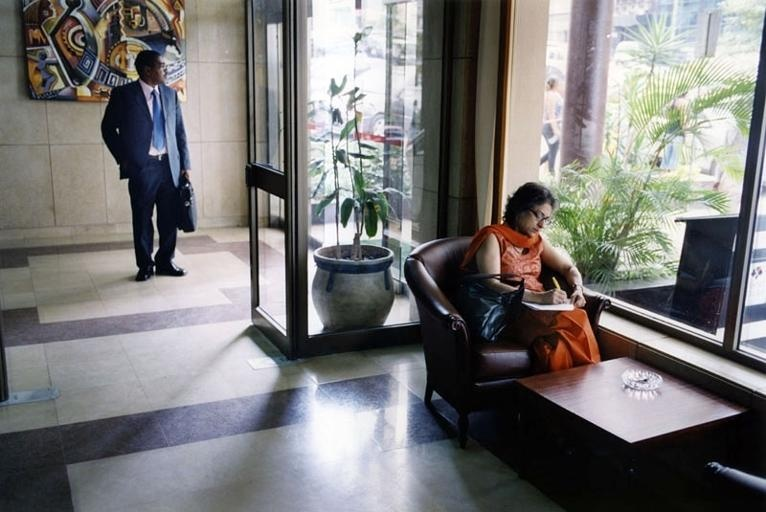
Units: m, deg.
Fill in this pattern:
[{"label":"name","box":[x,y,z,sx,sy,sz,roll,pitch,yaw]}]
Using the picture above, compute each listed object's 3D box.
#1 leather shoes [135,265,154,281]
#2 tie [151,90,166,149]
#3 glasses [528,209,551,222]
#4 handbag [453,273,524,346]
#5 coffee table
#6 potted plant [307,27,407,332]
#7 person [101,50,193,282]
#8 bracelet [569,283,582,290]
[{"label":"leather shoes","box":[-2.506,0.178,5.717,0.120,0.124,0.280,8,18,25]},{"label":"tie","box":[-2.367,-1.424,5.663,0.130,0.588,0.200,-4,17,-14]},{"label":"glasses","box":[0.999,-0.250,3.410,0.092,0.030,0.090,7,42,-38]},{"label":"handbag","box":[0.617,0.362,3.368,0.359,0.483,0.404,-1,-27,9]},{"label":"coffee table","box":[1.273,0.956,2.911,0.971,0.536,0.637,-7,18,-21]},{"label":"potted plant","box":[-0.289,-0.527,4.009,0.621,2.221,0.335,-7,18,-21]},{"label":"person","box":[-2.476,-0.949,5.718,0.779,2.283,0.599,-6,18,-20]},{"label":"bracelet","box":[1.244,0.196,3.461,0.037,0.035,0.037,-8,13,-15]}]
